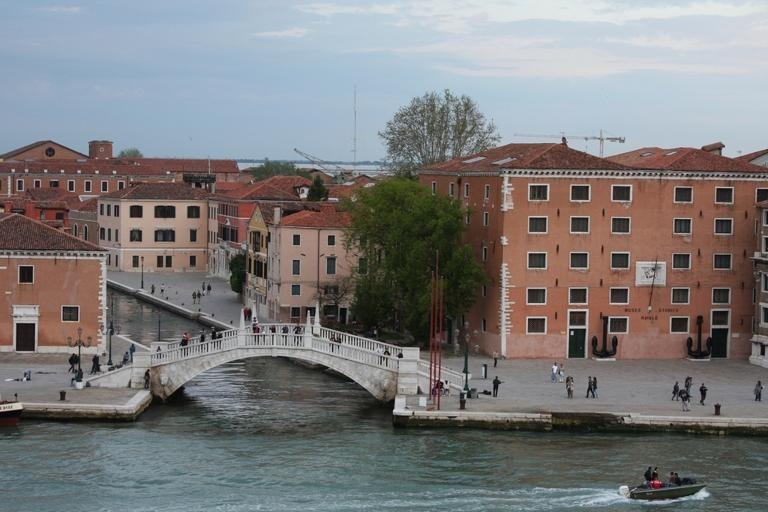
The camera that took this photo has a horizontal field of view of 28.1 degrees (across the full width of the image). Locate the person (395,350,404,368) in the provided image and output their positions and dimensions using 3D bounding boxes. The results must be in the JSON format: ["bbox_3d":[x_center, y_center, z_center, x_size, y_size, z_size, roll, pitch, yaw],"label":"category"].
[{"bbox_3d":[1.188,7.165,107.789,0.574,1.324,1.451,1,-4,-1],"label":"person"}]

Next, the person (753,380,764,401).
[{"bbox_3d":[26.544,9.457,108.857,0.717,1.398,4.246,0,-4,14],"label":"person"}]

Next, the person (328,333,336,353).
[{"bbox_3d":[-3.533,6.063,107.791,0.290,1.018,1.102,6,0,-4],"label":"person"}]

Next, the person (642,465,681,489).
[{"bbox_3d":[16.907,13.418,93.814,1.884,0.732,1.241,-4,6,-28],"label":"person"}]

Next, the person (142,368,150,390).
[{"bbox_3d":[-16.529,8.465,107.529,0.429,1.310,0.179,2,-4,-10],"label":"person"}]

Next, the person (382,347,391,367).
[{"bbox_3d":[0.281,7.026,108.041,0.530,1.222,1.079,1,-4,0],"label":"person"}]

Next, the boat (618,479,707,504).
[{"bbox_3d":[16.998,14.212,93.560,5.256,1.019,1.712,-2,5,-9],"label":"boat"}]
